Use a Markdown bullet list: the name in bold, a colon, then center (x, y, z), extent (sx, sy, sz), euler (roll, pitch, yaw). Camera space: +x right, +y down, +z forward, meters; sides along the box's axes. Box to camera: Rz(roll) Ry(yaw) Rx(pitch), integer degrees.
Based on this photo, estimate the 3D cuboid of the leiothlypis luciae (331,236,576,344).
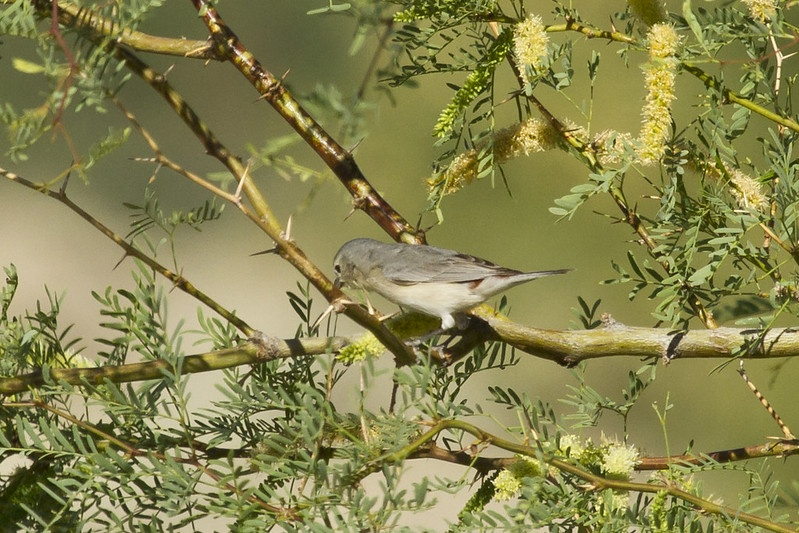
- **leiothlypis luciae**: center (0.279, 0.089, 3.599), extent (1.230, 0.391, 0.486), euler (-3, -89, 16)
